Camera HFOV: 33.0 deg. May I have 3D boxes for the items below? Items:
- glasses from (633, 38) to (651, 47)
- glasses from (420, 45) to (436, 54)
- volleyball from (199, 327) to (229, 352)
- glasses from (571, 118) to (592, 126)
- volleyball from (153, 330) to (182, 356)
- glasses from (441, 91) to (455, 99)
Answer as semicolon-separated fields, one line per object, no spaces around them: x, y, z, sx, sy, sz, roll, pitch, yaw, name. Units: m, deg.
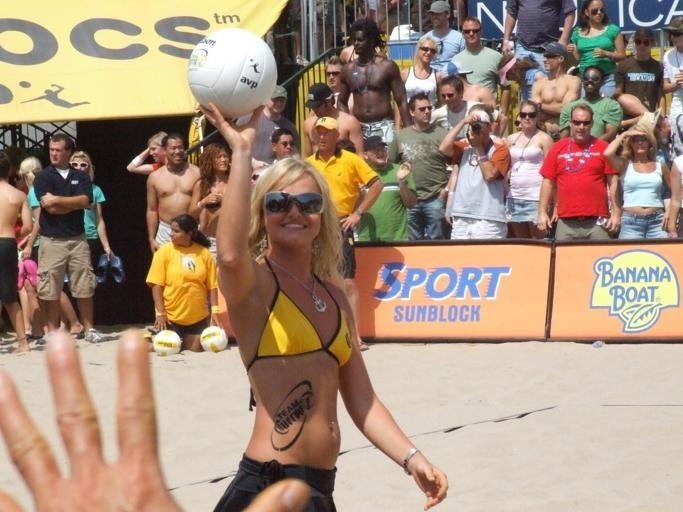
3.886;-2.736;14.771;0.217;0.114;0.163;0;7;9;glasses
1.113;-2.642;14.811;0.215;0.108;0.118;-2;7;-5;glasses
-1.431;0.900;12.839;0.225;0.259;0.310;-13;-19;-12;volleyball
2.755;-1.530;13.204;0.219;0.063;0.092;0;8;14;glasses
-1.938;0.957;12.853;0.246;0.254;0.301;-3;-3;25;volleyball
1.315;-1.983;14.213;0.177;0.082;0.064;3;8;28;glasses
